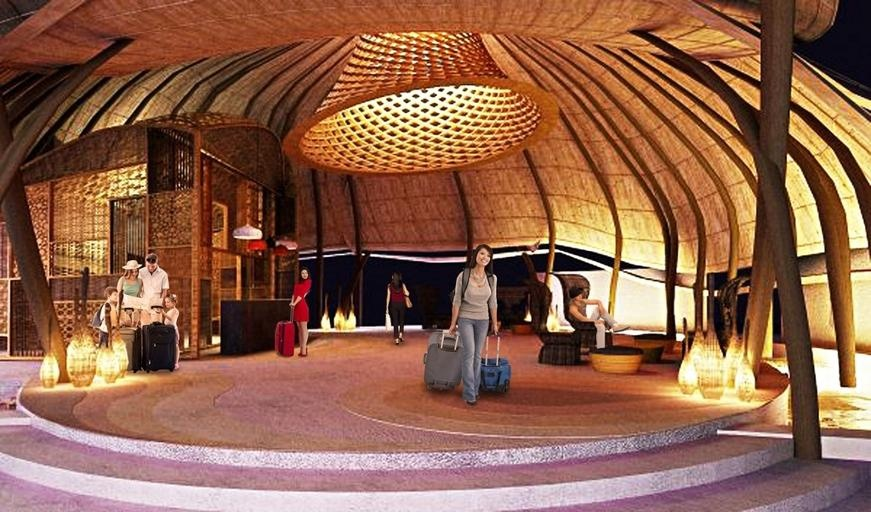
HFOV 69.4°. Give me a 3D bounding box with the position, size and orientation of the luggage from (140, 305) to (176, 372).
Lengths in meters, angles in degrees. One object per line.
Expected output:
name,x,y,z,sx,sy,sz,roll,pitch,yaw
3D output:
luggage,-6.093,2.031,13.998,0.690,0.939,0.646,0,-7,-14

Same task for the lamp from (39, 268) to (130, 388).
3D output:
lamp,-7.198,1.865,12.888,1.676,3.196,1.306,0,-1,-37

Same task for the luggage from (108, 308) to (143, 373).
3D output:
luggage,-6.733,2.075,13.746,0.615,0.887,0.576,6,-11,-13

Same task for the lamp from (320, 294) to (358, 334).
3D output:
lamp,-3.748,2.359,25.313,1.633,1.495,1.608,2,-10,-14

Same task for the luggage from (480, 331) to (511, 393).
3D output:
luggage,1.111,2.035,12.238,0.753,1.098,0.710,2,-1,-8

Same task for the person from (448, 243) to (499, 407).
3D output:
person,0.617,1.225,11.431,1.013,2.501,1.135,0,-1,-19

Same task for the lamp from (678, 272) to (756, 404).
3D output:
lamp,5.339,1.867,12.044,1.155,2.728,1.348,1,1,23

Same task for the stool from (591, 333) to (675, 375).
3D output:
stool,4.618,2.481,14.818,2.102,1.026,1.832,0,1,7

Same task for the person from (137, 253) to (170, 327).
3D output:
person,-6.303,0.758,14.121,0.580,1.591,0.543,-1,-1,0

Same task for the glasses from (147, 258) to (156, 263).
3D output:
glasses,-6.270,0.125,13.880,0.125,0.079,0.138,2,-5,-40

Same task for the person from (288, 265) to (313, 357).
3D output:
person,-3.507,1.430,16.383,0.663,2.274,0.655,4,-12,-22
